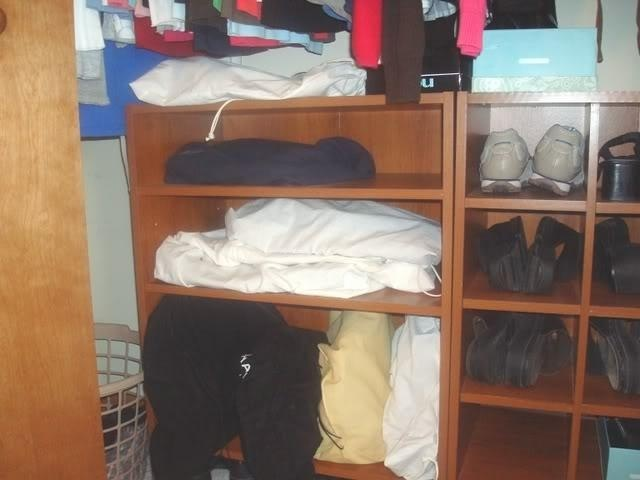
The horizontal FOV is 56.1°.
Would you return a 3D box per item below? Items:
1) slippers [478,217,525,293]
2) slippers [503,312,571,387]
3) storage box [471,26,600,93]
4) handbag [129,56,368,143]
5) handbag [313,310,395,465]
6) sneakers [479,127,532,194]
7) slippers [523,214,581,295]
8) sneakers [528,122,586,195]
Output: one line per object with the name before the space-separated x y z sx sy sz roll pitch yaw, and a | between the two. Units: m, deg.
slippers | 0.511 0.043 1.678 0.074 0.192 0.145 7 -19 -7
slippers | 0.622 0.296 1.719 0.153 0.117 0.234 -7 13 36
storage box | 0.577 -0.489 1.636 0.312 0.177 0.049 0 9 11
handbag | -0.208 -0.472 1.784 0.661 0.172 0.231 0 9 15
handbag | 0.110 0.430 1.788 0.260 0.407 0.127 3 2 20
sneakers | 0.498 -0.220 1.646 0.091 0.099 0.208 0 33 19
slippers | 0.656 0.046 1.692 0.118 0.195 0.199 -10 -11 38
sneakers | 0.630 -0.213 1.599 0.109 0.131 0.218 11 24 23
